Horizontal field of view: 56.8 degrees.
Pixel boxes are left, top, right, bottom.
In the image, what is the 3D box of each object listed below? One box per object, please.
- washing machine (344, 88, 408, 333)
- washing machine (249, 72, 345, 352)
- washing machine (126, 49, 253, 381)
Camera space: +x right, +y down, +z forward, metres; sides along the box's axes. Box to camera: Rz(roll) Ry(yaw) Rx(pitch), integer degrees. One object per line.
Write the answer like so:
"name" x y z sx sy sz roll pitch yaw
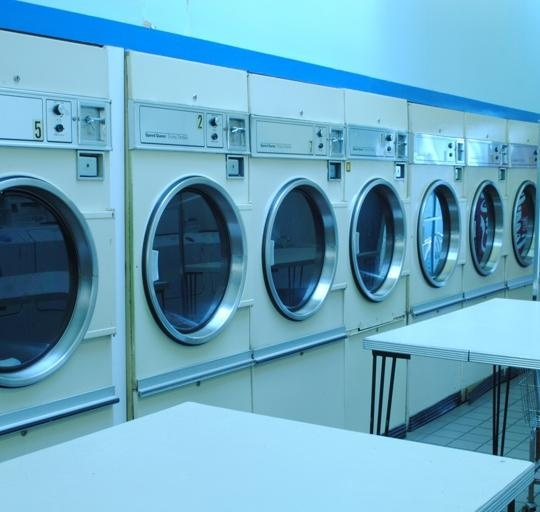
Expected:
"washing machine" 0.688 -0.290 3.388 0.285 1.568 0.781 1 4 37
"washing machine" 0.096 -0.260 2.885 0.432 1.446 0.829 1 4 36
"washing machine" -0.419 -0.049 2.403 0.372 1.683 0.710 2 4 43
